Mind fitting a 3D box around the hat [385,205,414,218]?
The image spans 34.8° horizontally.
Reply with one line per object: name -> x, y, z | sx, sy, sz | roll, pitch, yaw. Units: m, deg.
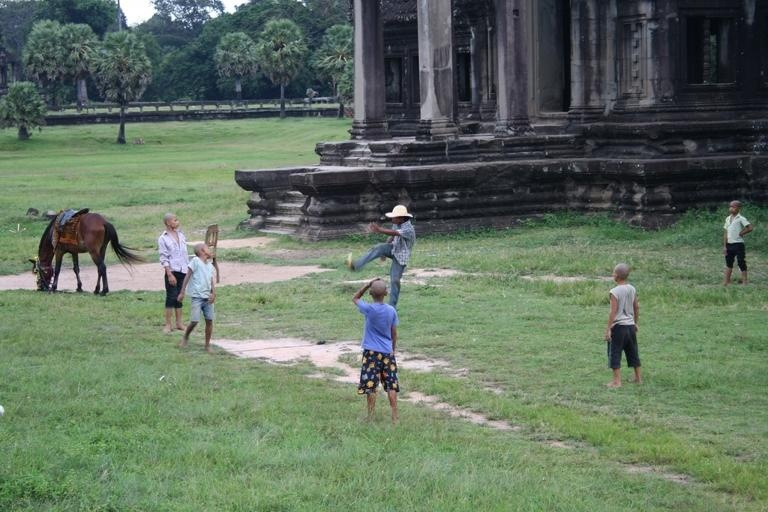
hat -> 0.315, -0.994, 27.140 | 0.634, 0.275, 0.725 | 1, -1, 4

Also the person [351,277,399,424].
person -> -0.133, 1.518, 20.251 | 0.719, 2.269, 0.713 | -1, 5, 0

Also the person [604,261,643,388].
person -> 4.169, 1.163, 21.456 | 0.604, 2.066, 0.732 | 0, 5, 11

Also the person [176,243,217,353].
person -> -3.495, 0.722, 22.975 | 0.649, 1.930, 0.867 | -2, 5, -9

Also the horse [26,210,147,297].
horse -> -6.512, -0.021, 26.511 | 3.091, 1.847, 0.763 | -7, -3, 38

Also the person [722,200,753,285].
person -> 7.588, -0.326, 26.403 | 0.533, 1.720, 1.266 | 0, 5, 16

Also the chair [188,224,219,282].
chair -> -4.088, -0.100, 27.651 | 0.920, 1.148, 0.830 | 2, 4, 9
